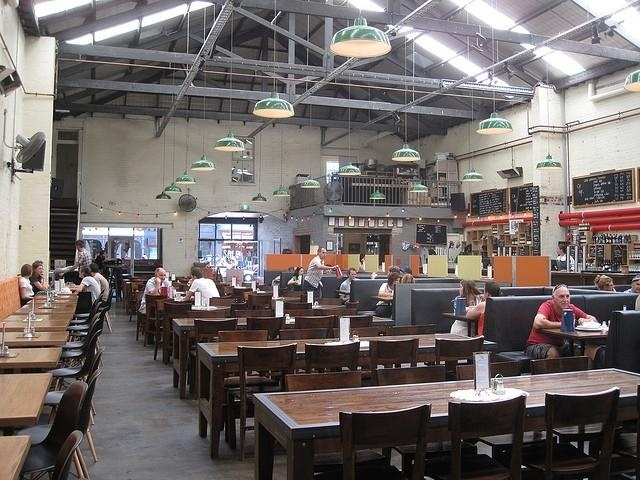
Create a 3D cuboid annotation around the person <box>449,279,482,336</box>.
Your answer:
[{"bbox_3d":[2.027,1.047,8.730,0.492,0.998,0.374,-6,9,-17],"label":"person"}]

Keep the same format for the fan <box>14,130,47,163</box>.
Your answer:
[{"bbox_3d":[-5.586,-1.739,11.797,0.434,0.571,0.979,-1,1,-34],"label":"fan"}]

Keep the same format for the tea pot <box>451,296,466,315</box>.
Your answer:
[{"bbox_3d":[1.936,0.929,8.589,0.215,0.347,0.211,2,3,0],"label":"tea pot"}]

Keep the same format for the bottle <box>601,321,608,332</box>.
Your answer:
[{"bbox_3d":[3.468,1.059,7.489,0.116,0.067,0.158,4,7,30],"label":"bottle"}]

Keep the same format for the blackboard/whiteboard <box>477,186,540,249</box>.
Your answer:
[{"bbox_3d":[6.045,-0.709,19.500,0.158,1.626,2.156,2,-2,-21],"label":"blackboard/whiteboard"}]

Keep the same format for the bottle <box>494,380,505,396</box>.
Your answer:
[{"bbox_3d":[1.325,1.097,4.553,0.096,0.123,0.103,0,-6,0],"label":"bottle"}]

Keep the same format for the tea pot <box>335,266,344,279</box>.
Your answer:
[{"bbox_3d":[0.452,0.798,14.705,0.176,0.128,0.273,-7,-27,2],"label":"tea pot"}]

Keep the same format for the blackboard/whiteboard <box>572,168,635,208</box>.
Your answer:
[{"bbox_3d":[7.563,-1.376,16.454,0.167,0.882,2.064,-1,1,-18],"label":"blackboard/whiteboard"}]

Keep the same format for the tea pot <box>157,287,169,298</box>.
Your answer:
[{"bbox_3d":[-2.881,0.973,11.317,0.167,0.207,0.174,1,1,0],"label":"tea pot"}]

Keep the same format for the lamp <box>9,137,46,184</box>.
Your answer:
[{"bbox_3d":[-5.651,-1.588,11.896,0.789,1.053,0.923,3,7,-35],"label":"lamp"}]

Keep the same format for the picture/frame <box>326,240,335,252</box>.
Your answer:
[{"bbox_3d":[0.315,0.179,20.834,0.412,0.455,0.062,0,1,-33],"label":"picture/frame"}]

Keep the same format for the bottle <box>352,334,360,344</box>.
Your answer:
[{"bbox_3d":[0.354,0.975,6.056,0.071,0.064,0.067,-5,-9,2],"label":"bottle"}]

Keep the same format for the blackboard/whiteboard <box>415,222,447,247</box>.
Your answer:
[{"bbox_3d":[3.900,-0.169,21.903,0.878,0.605,0.117,3,-17,-11],"label":"blackboard/whiteboard"}]

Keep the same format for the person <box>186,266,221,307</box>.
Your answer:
[{"bbox_3d":[-1.964,0.889,9.943,0.430,0.789,0.376,9,17,19],"label":"person"}]
